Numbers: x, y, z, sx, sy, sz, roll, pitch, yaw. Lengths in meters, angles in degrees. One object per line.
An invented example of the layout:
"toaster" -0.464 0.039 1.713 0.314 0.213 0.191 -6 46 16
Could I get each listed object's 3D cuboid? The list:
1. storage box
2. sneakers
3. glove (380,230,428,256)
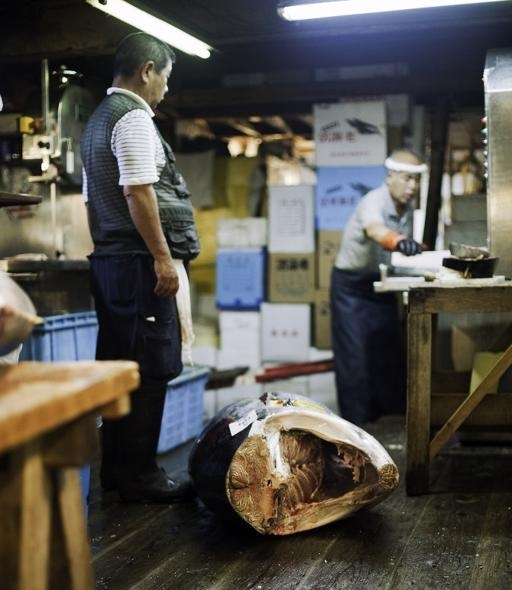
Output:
"storage box" 0.443 -0.373 7.197 1.462 4.118 2.366 0 3 4
"sneakers" -0.494 0.940 3.620 0.519 0.201 0.166 -3 -2 -6
"glove" 0.967 -0.343 4.835 0.095 0.162 0.296 -7 8 -41
